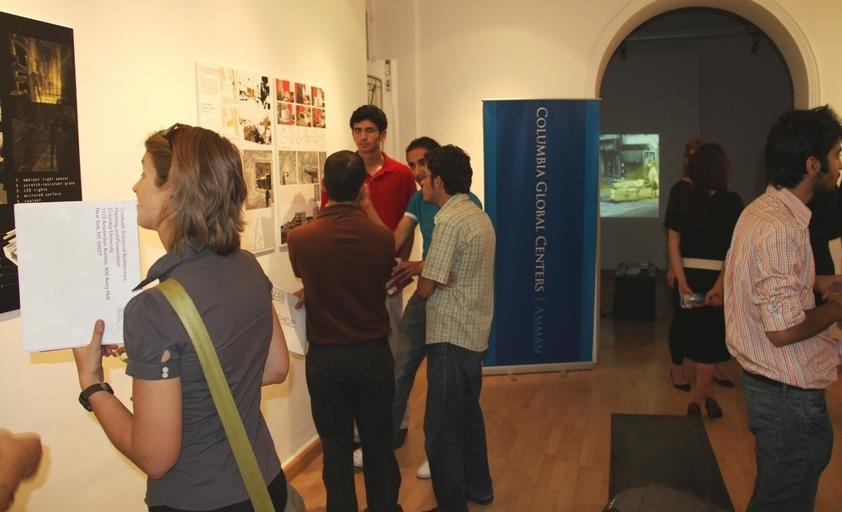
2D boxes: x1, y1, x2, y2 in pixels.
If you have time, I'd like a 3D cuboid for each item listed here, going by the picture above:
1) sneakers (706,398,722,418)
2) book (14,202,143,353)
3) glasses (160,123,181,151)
[{"bbox_3d":[2.454,1.273,5.324,0.111,0.068,0.112,32,32,-30],"label":"sneakers"},{"bbox_3d":[-1.427,0.059,2.784,0.609,0.600,0.144,-2,1,-14],"label":"book"},{"bbox_3d":[-1.031,-0.493,2.657,0.050,0.100,0.076,24,4,1],"label":"glasses"}]
